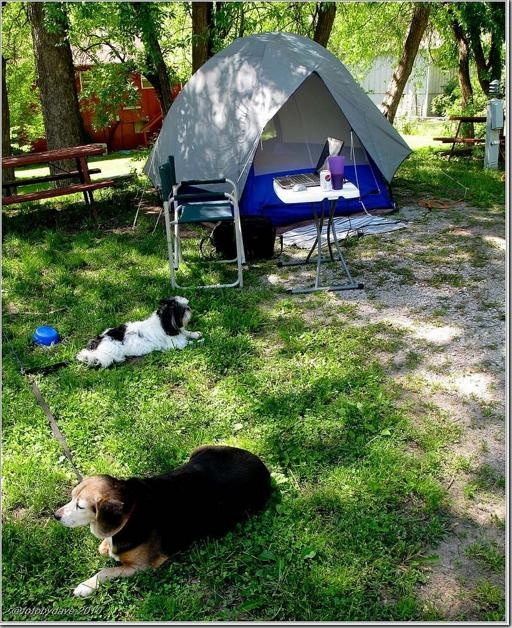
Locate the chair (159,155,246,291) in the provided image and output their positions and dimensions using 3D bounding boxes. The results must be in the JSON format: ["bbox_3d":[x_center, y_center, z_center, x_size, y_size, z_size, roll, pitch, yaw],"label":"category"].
[{"bbox_3d":[-0.610,-1.139,5.771,1.036,1.674,1.111,0,22,-6],"label":"chair"}]

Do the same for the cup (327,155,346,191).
[{"bbox_3d":[0.730,-1.294,4.905,0.133,0.297,0.127,-2,14,1],"label":"cup"}]

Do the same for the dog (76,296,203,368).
[{"bbox_3d":[-0.913,0.175,4.165,0.838,0.332,0.449,-12,29,-13],"label":"dog"}]

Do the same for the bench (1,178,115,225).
[{"bbox_3d":[-3.104,-1.789,8.366,1.771,0.761,1.338,-11,29,-23],"label":"bench"}]

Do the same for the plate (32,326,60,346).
[{"bbox_3d":[-1.721,0.179,4.409,0.211,0.135,0.226,-9,16,-25],"label":"plate"}]

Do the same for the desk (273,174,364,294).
[{"bbox_3d":[0.600,-0.822,5.538,0.746,0.900,1.369,-3,16,1],"label":"desk"}]

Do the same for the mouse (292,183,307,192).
[{"bbox_3d":[0.409,-1.181,5.004,0.098,0.036,0.103,-11,28,-21],"label":"mouse"}]

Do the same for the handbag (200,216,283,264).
[{"bbox_3d":[-0.253,-0.945,6.464,0.974,0.511,0.863,-6,23,-16],"label":"handbag"}]
